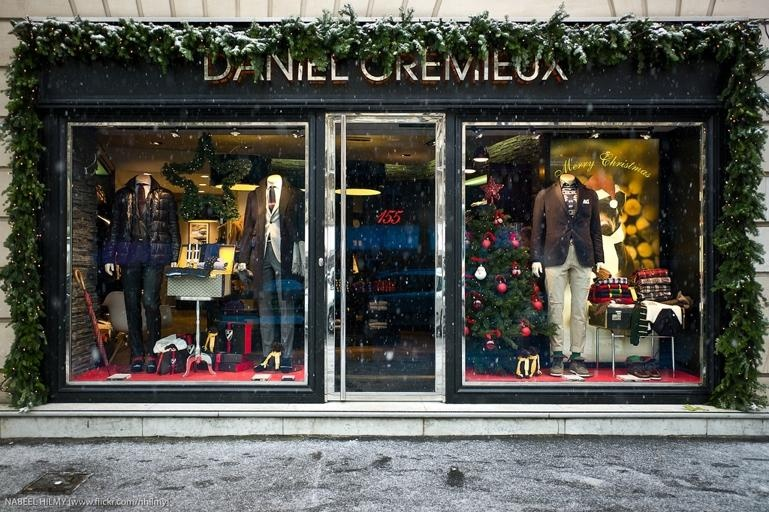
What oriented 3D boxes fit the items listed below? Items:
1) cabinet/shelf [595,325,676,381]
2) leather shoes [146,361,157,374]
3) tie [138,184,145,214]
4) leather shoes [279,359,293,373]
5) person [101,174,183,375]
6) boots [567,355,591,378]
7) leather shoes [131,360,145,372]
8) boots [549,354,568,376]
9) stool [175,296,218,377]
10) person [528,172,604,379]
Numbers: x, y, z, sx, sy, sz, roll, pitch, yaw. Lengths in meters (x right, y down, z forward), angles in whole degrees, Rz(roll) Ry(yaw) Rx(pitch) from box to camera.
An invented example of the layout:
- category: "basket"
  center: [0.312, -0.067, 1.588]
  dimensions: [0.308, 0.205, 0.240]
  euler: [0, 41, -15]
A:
- category: "cabinet/shelf"
  center: [2.974, 1.188, 9.394]
  dimensions: [0.630, 0.525, 0.747]
  euler: [0, 1, 9]
- category: "leather shoes"
  center: [-2.771, 1.326, 9.070]
  dimensions: [0.105, 0.105, 0.260]
  euler: [2, -9, -13]
- category: "tie"
  center: [-2.963, -0.698, 9.309]
  dimensions: [0.113, 0.375, 0.031]
  euler: [0, -3, -18]
- category: "leather shoes"
  center: [-1.143, 1.270, 8.865]
  dimensions: [0.063, 0.163, 0.227]
  euler: [2, -4, -44]
- category: "person"
  center: [-2.947, 0.186, 9.307]
  dimensions: [0.867, 2.377, 0.424]
  euler: [0, -3, -14]
- category: "boots"
  center: [2.351, 1.313, 9.193]
  dimensions: [0.261, 0.249, 0.321]
  euler: [-1, -2, 2]
- category: "leather shoes"
  center: [-2.965, 1.307, 9.140]
  dimensions: [0.148, 0.139, 0.171]
  euler: [0, -3, -22]
- category: "boots"
  center: [2.071, 1.308, 9.152]
  dimensions: [0.190, 0.198, 0.479]
  euler: [-1, -7, 10]
- category: "stool"
  center: [-2.265, 0.952, 9.248]
  dimensions: [0.428, 0.882, 0.399]
  euler: [-1, -1, -37]
- category: "person"
  center: [2.247, 0.211, 9.329]
  dimensions: [0.873, 2.423, 0.429]
  euler: [-1, -3, 5]
